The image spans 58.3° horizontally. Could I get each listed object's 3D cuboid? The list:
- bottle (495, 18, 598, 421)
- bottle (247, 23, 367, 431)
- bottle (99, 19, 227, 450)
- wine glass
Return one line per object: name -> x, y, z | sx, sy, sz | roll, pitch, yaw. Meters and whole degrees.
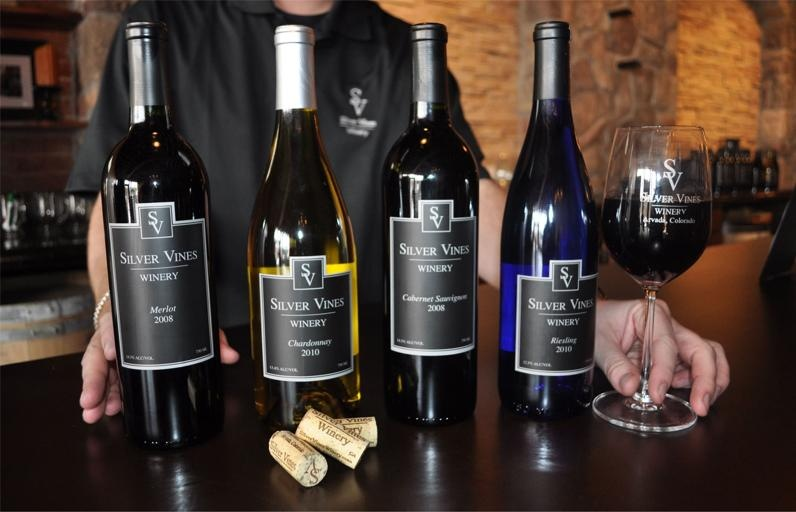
bottle -> 0.236, -0.057, 1.145 | 0.165, 0.621, 0.120 | -2, 7, 8
bottle -> -0.143, -0.040, 1.128 | 0.195, 0.610, 0.158 | -5, 8, -20
bottle -> -0.363, -0.030, 1.080 | 0.160, 0.634, 0.104 | -3, 7, 0
wine glass -> 0.406, 0.031, 1.150 | 0.174, 0.478, 0.171 | 0, 8, 23
